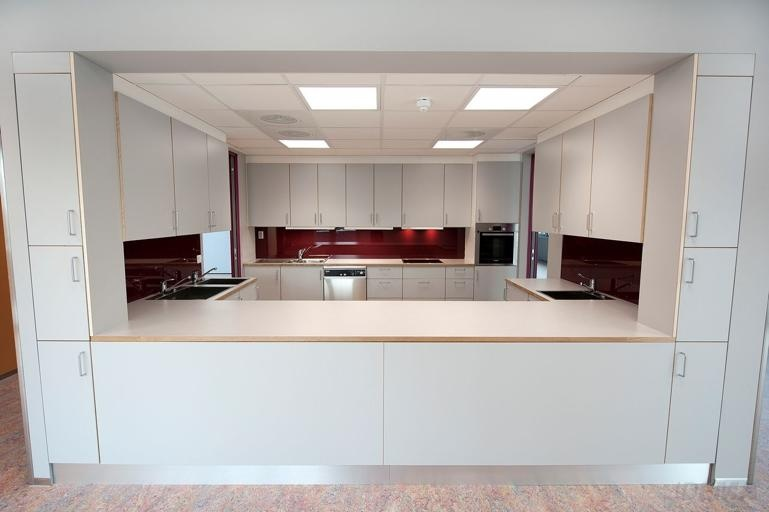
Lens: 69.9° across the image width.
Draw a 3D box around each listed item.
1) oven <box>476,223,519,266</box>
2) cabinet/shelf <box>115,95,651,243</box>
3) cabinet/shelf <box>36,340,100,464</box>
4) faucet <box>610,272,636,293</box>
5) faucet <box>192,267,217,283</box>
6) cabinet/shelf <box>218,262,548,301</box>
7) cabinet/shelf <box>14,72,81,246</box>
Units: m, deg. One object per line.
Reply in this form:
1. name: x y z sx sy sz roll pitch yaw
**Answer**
1. oven: 1.598 -0.130 7.185 0.611 0.549 0.512 3 3 43
2. cabinet/shelf: 0.013 -0.805 5.696 4.101 1.276 2.921 0 8 0
3. cabinet/shelf: -2.483 1.124 4.281 0.588 0.931 0.614 -3 -15 -14
4. faucet: 2.189 0.252 5.002 0.163 0.158 0.255 1 0 -12
5. faucet: -1.901 0.185 5.748 0.210 0.152 0.548 -3 9 -18
6. cabinet/shelf: -0.026 0.327 7.043 3.314 0.494 0.168 0 10 0
7. cabinet/shelf: -2.412 -0.681 3.946 0.416 1.208 0.166 0 11 1
